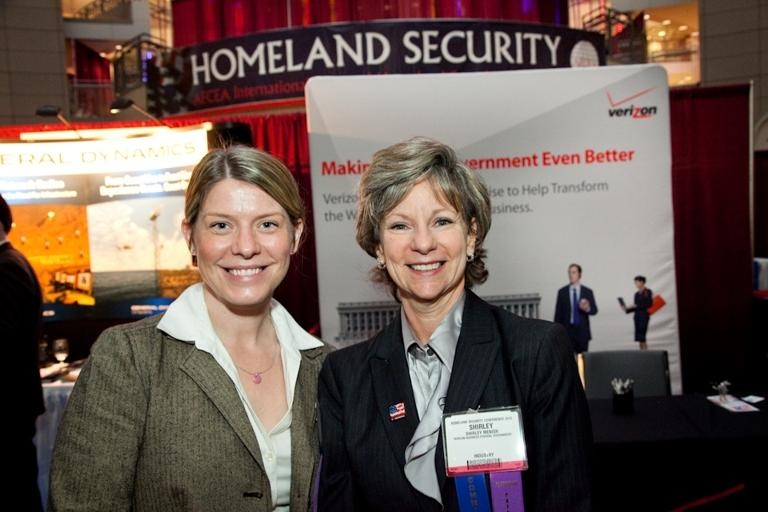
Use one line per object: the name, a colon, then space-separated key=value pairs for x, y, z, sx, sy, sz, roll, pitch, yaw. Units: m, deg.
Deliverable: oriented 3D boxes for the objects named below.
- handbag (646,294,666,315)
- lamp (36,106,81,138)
handbag: x=2.682 y=0.466 z=5.855 sx=0.153 sy=0.200 sz=0.060 roll=42 pitch=-1 yaw=-8
lamp: x=-3.983 y=-1.607 z=7.057 sx=0.271 sy=0.183 sz=0.499 roll=-4 pitch=-22 yaw=-24
